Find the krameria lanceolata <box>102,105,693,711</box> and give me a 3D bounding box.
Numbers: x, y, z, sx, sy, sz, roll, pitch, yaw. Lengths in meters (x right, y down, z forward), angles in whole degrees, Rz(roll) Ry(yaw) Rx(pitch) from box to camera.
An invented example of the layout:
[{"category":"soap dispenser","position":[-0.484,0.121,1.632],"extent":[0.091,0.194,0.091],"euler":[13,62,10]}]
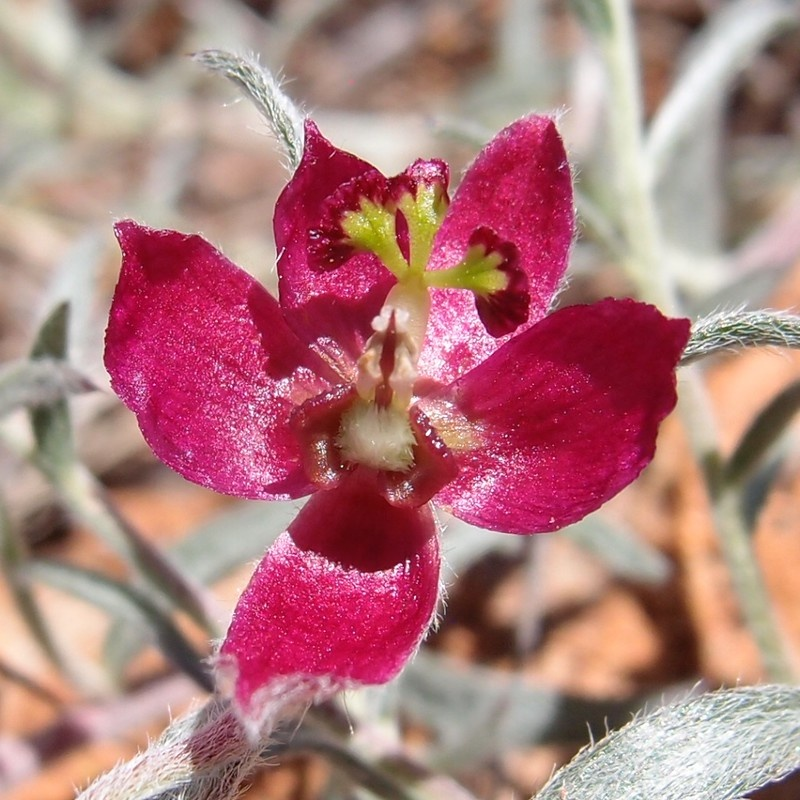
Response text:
[{"category":"krameria lanceolata","position":[-0.080,-0.020,1.683],"extent":[1.151,0.877,0.285],"euler":[-19,80,-29]}]
